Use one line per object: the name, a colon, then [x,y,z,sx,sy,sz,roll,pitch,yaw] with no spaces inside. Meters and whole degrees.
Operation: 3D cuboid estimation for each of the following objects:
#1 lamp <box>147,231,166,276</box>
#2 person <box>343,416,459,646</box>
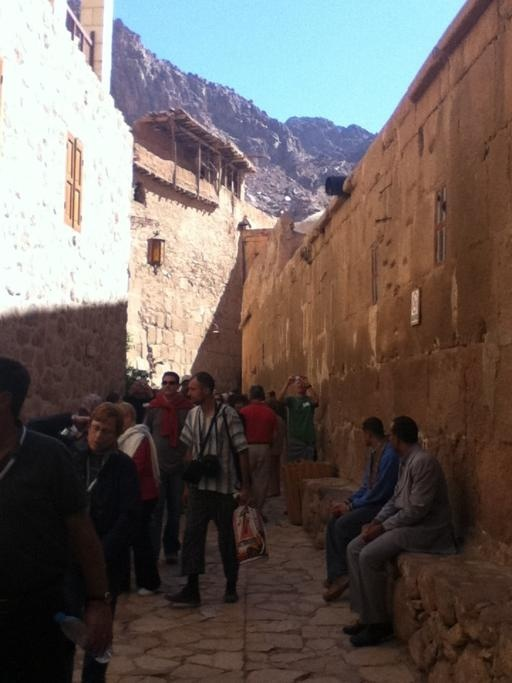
lamp: [-3.583,-3.142,24.954,0.349,1.614,1.223,-3,6,10]
person: [0.712,0.941,3.564,0.552,1.086,0.419,-1,-3,7]
